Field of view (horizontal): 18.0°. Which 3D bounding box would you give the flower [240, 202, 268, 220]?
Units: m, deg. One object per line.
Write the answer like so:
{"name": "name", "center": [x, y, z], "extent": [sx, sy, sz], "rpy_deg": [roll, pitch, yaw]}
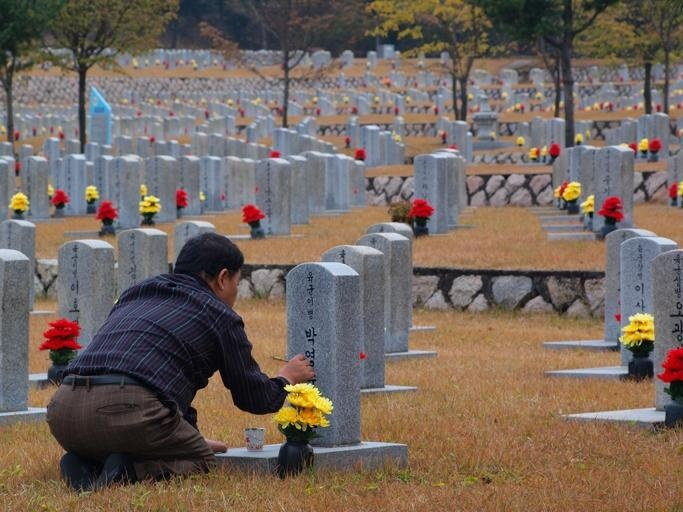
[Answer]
{"name": "flower", "center": [-3.383, -1.586, 81.266], "extent": [0.681, 0.488, 0.689], "rpy_deg": [-17, 5, -39]}

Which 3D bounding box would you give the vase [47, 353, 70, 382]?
{"name": "vase", "center": [-9.348, 3.771, 71.752], "extent": [0.848, 0.888, 0.889], "rpy_deg": [2, -3, -12]}

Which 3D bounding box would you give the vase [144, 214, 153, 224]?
{"name": "vase", "center": [-7.502, -1.454, 83.998], "extent": [0.393, 0.478, 0.853], "rpy_deg": [0, 5, -6]}

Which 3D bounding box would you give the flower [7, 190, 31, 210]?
{"name": "flower", "center": [-12.524, -2.147, 83.939], "extent": [0.706, 0.554, 0.745], "rpy_deg": [0, 10, -10]}

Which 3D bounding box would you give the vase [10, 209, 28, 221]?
{"name": "vase", "center": [-12.629, -1.606, 84.583], "extent": [0.549, 0.682, 0.580], "rpy_deg": [-1, 2, -5]}
